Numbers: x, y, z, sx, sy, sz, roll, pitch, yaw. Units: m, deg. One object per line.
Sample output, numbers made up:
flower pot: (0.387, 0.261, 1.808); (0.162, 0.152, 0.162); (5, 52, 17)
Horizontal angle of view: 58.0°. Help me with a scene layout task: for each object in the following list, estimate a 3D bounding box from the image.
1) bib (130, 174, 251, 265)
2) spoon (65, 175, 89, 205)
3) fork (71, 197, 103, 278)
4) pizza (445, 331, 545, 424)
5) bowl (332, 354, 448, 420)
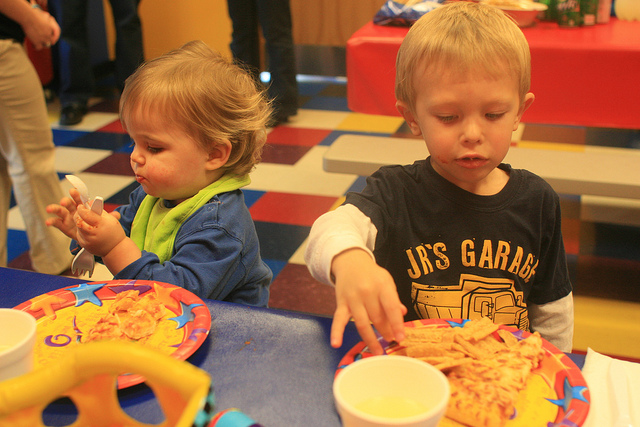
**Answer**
bib: (-0.369, 0.012, 1.512); (0.331, 0.193, 0.214); (1, 28, 10)
spoon: (-0.537, -0.057, 1.285); (0.028, 0.116, 0.016); (33, 65, 6)
fork: (-0.534, 0.053, 1.334); (0.065, 0.194, 0.028); (10, 6, 4)
pizza: (0.297, 0.264, 0.958); (0.093, 0.019, 0.163); (11, 31, 38)
bowl: (0.102, 0.272, 0.866); (0.119, 0.042, 0.111); (0, 24, 0)
